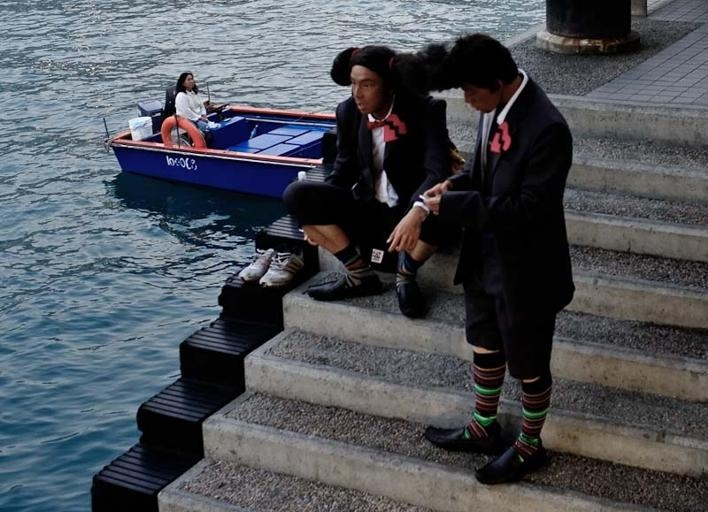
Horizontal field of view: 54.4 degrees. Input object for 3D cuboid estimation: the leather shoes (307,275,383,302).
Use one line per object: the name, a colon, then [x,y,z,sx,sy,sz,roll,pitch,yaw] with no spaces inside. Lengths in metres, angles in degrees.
leather shoes: [-0.034,0.277,6.027,0.696,0.201,0.225,-4,17,3]

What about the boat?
boat: [-2.538,-1.916,13.655,4.436,0.728,2.453,8,25,22]

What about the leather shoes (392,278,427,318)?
leather shoes: [0.468,0.335,5.733,0.195,0.132,0.377,-16,40,-10]

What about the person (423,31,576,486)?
person: [0.948,0.087,4.493,0.933,2.942,0.952,-10,27,-7]

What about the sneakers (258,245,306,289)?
sneakers: [-0.619,0.111,6.191,0.202,0.198,0.527,13,27,31]

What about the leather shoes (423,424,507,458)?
leather shoes: [0.794,1.287,5.040,0.675,0.226,0.203,0,34,27]

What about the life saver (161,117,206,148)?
life saver: [-3.343,-2.449,13.577,1.105,0.655,0.419,13,31,34]

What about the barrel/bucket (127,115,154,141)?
barrel/bucket: [-4.338,-2.661,14.331,0.616,0.386,0.535,13,30,35]

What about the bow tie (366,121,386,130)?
bow tie: [0.192,-1.059,5.593,0.157,0.079,0.049,8,29,25]

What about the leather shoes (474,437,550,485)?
leather shoes: [1.083,1.438,4.730,0.629,0.193,0.209,-20,33,-9]
